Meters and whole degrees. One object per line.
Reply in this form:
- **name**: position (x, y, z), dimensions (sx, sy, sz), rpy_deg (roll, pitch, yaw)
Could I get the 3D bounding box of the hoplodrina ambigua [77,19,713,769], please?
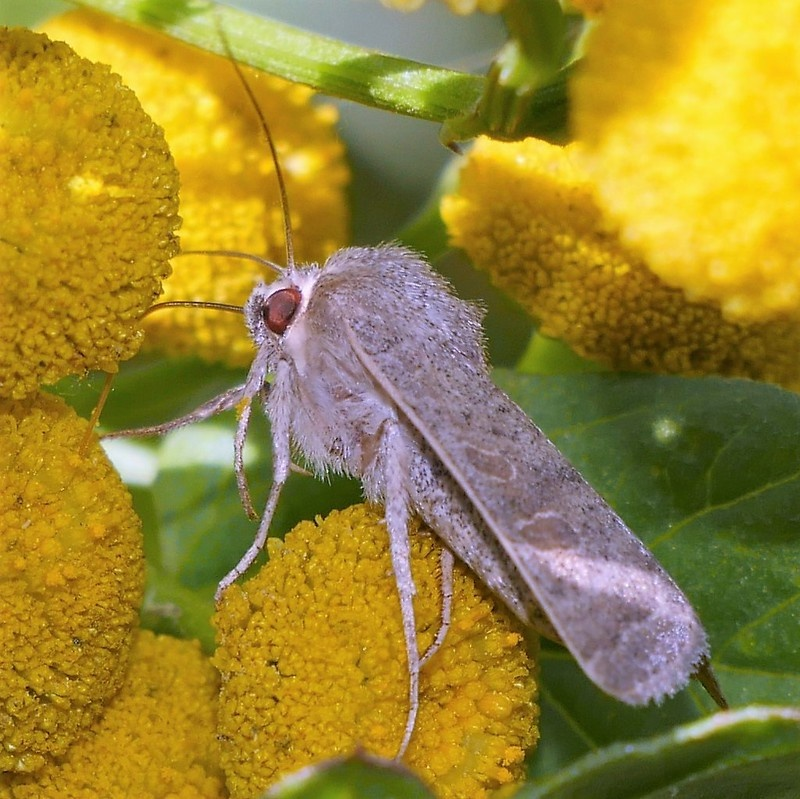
- **hoplodrina ambigua**: position (0.034, -0.027, 1.398), dimensions (0.926, 0.506, 0.492), rpy_deg (43, 53, 16)
